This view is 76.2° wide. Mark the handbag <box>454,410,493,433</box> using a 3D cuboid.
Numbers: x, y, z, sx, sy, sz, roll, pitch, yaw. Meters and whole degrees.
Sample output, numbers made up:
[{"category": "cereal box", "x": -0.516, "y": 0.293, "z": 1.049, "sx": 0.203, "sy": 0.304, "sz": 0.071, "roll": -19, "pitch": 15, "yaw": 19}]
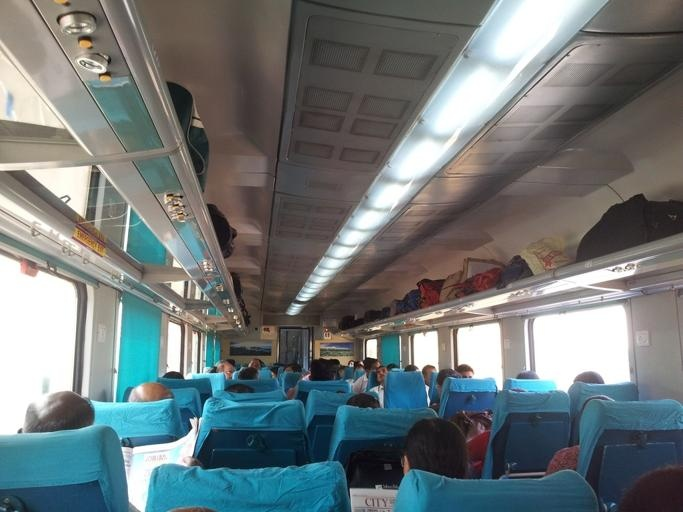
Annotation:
[{"category": "handbag", "x": 1.515, "y": 1.885, "z": 5.004, "sx": 0.361, "sy": 0.242, "sz": 0.364, "roll": -6, "pitch": -1, "yaw": 3}]
